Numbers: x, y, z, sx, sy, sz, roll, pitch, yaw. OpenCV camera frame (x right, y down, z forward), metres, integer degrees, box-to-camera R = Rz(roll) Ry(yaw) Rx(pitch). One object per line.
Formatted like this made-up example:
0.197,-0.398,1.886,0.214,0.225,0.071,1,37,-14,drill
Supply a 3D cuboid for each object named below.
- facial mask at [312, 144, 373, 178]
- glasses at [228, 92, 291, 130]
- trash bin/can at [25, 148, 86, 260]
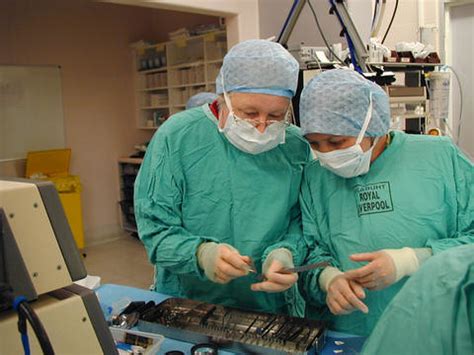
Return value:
0.419,-0.066,1.617,0.220,0.132,0.087,0,12,14,facial mask
0.085,-0.262,1.605,0.170,0.104,0.177,5,16,-22,glasses
-2.111,0.310,4.865,0.591,1.239,0.771,-9,13,-26,trash bin/can
